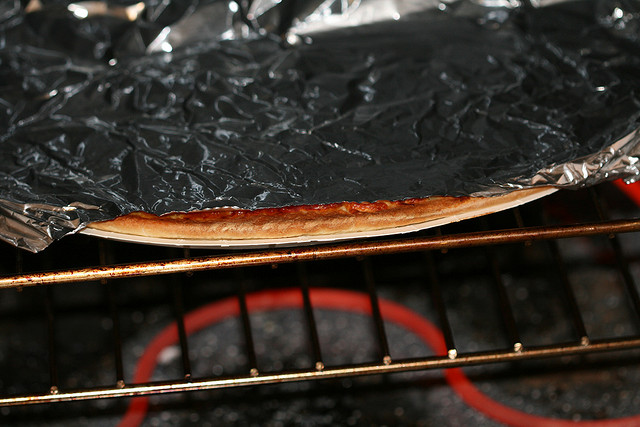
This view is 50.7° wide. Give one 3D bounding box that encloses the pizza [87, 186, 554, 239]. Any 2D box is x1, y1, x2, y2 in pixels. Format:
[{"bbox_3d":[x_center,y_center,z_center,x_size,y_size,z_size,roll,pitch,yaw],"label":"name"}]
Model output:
[{"bbox_3d":[-0.030,-0.003,1.083,0.642,0.025,0.097,0,39,5],"label":"pizza"}]
